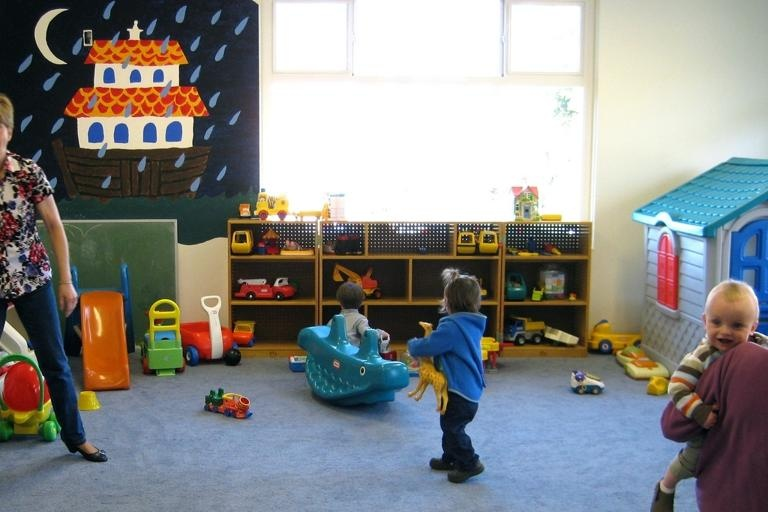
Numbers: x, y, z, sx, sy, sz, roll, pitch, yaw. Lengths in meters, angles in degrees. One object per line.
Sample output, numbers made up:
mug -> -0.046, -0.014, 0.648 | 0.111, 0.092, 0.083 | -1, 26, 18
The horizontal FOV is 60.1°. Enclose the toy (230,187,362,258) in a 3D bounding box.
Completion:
toy -> -0.761, -0.247, 6.197 | 0.957, 0.408, 0.651 | 0, 4, -1

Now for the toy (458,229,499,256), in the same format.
toy -> 0.830, -0.121, 5.938 | 0.306, 0.177, 0.237 | 0, -1, -1

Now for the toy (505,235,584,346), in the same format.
toy -> 1.482, 0.252, 6.080 | 0.834, 1.111, 0.574 | 3, 13, 9

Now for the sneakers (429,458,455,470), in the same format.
sneakers -> 0.347, 1.245, 4.010 | 0.152, 0.070, 0.059 | 7, 6, 15

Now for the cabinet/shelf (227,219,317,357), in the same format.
cabinet/shelf -> -0.967, 0.303, 6.051 | 0.821, 1.262, 0.348 | 1, 8, 8

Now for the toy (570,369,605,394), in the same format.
toy -> 1.578, 0.995, 5.189 | 0.206, 0.133, 0.184 | -3, 7, -1

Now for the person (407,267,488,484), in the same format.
person -> 0.374, 0.703, 3.920 | 0.454, 1.164, 0.447 | 0, 13, -2

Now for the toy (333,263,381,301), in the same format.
toy -> -0.176, 0.232, 6.099 | 0.561, 0.376, 0.216 | 1, -1, 3

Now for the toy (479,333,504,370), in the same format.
toy -> 0.907, 0.829, 5.624 | 0.236, 0.193, 0.296 | 0, -1, -1

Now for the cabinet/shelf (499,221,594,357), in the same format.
cabinet/shelf -> 1.447, 0.310, 6.081 | 0.819, 1.219, 0.379 | 1, 6, 7

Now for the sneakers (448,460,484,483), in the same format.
sneakers -> 0.479, 1.271, 3.907 | 0.200, 0.089, 0.097 | -5, -1, -29

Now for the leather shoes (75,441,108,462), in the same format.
leather shoes -> -1.755, 1.190, 3.998 | 0.225, 0.073, 0.087 | 2, 4, 36
